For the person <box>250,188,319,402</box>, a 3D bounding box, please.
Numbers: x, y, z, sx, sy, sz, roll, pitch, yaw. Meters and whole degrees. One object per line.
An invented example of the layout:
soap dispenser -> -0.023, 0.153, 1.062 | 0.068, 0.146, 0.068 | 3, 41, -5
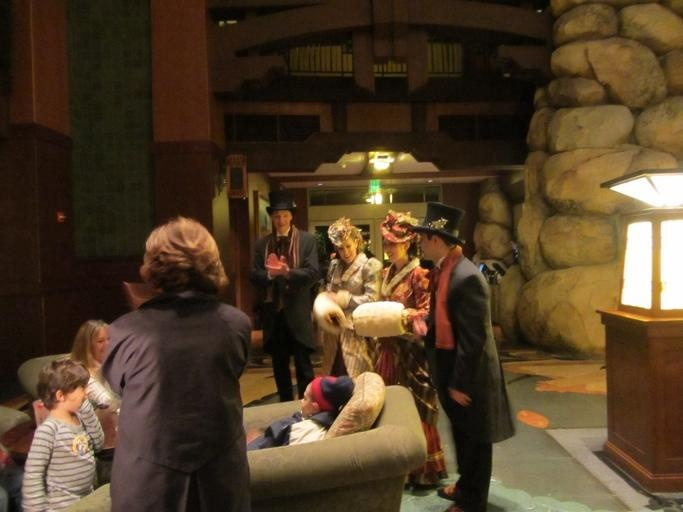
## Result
person -> -0.497, 0.365, 6.046 | 0.583, 1.990, 0.677 | -9, 11, -36

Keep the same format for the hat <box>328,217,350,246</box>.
hat -> -0.020, -0.257, 5.603 | 0.199, 0.256, 0.091 | -20, -32, 29

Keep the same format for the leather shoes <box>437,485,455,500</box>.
leather shoes -> 0.830, 1.864, 4.952 | 0.072, 0.068, 0.161 | 2, -4, -3

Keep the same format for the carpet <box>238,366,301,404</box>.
carpet -> -0.753, 1.374, 6.626 | 0.720, 0.176, 0.728 | 0, 14, -4

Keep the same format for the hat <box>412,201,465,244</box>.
hat -> 0.772, -0.225, 4.836 | 0.337, 0.197, 0.329 | 16, 9, -15

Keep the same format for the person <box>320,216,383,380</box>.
person -> 0.088, 0.352, 5.525 | 0.553, 1.344, 0.642 | -2, 9, 3
